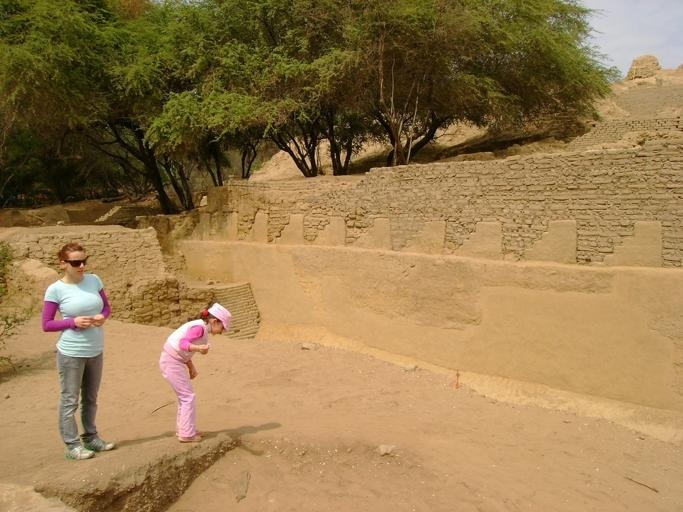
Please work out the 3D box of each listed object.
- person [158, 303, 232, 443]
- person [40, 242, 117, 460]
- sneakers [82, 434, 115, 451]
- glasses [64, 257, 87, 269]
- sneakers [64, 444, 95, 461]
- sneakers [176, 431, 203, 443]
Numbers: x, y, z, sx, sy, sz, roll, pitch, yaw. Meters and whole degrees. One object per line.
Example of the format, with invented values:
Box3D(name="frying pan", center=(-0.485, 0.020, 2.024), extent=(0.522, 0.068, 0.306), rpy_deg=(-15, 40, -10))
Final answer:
Box3D(name="person", center=(-1.994, 1.564, 6.817), extent=(0.738, 1.917, 0.656), rpy_deg=(4, 9, -38))
Box3D(name="person", center=(-3.218, 1.197, 6.282), extent=(0.860, 2.679, 0.628), rpy_deg=(5, 8, -28))
Box3D(name="sneakers", center=(-3.084, 2.385, 6.560), extent=(0.432, 0.160, 0.137), rpy_deg=(7, 16, -25))
Box3D(name="glasses", center=(-3.218, 0.084, 6.191), extent=(0.222, 0.122, 0.111), rpy_deg=(5, 7, -16))
Box3D(name="sneakers", center=(-3.216, 2.426, 6.325), extent=(0.387, 0.137, 0.139), rpy_deg=(1, 2, 2))
Box3D(name="sneakers", center=(-2.010, 2.428, 6.828), extent=(0.282, 0.097, 0.124), rpy_deg=(-2, 8, -24))
